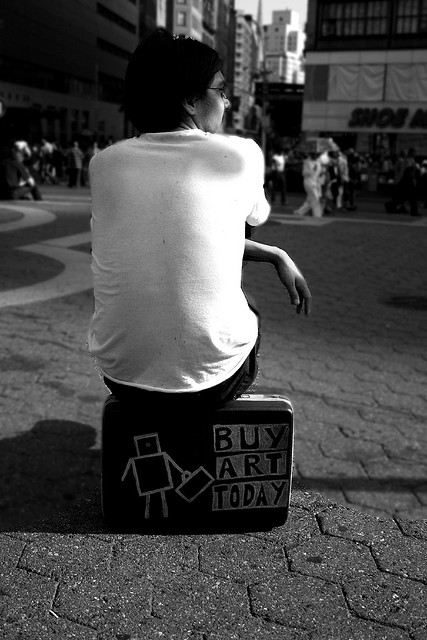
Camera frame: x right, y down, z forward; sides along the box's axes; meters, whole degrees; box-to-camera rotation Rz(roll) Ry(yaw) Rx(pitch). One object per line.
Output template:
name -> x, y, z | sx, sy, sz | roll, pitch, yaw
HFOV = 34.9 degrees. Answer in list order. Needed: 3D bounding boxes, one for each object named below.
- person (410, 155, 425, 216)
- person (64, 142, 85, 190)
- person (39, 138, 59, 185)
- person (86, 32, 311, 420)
person -> 5.734, -3.782, 19.139 | 0.376, 1.565, 1.791 | 5, 12, 17
person -> -5.103, -5.674, 24.729 | 0.573, 1.651, 1.394 | -1, 11, -13
person -> -6.771, -6.431, 27.555 | 0.670, 1.685, 1.403 | -1, 11, -15
person -> -0.112, -0.291, 2.113 | 0.535, 1.192, 0.527 | 4, 11, 11
